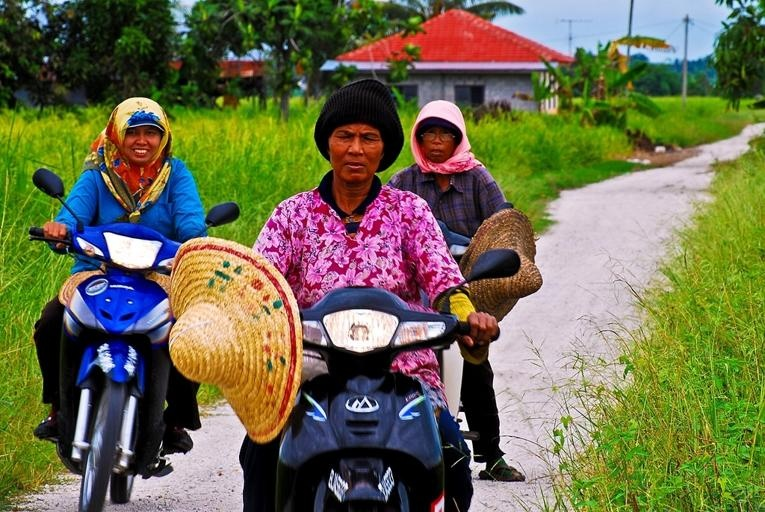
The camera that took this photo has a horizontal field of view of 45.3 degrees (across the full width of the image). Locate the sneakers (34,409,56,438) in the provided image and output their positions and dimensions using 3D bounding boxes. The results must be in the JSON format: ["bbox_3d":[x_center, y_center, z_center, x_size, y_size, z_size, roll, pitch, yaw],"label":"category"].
[{"bbox_3d":[-2.118,1.067,5.732,0.081,0.100,0.230,7,-23,-16],"label":"sneakers"}]

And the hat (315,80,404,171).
[{"bbox_3d":[-0.103,-0.766,4.810,0.421,0.520,0.242,5,33,-4],"label":"hat"}]

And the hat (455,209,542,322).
[{"bbox_3d":[0.763,0.046,5.637,0.267,0.539,0.719,-12,36,30],"label":"hat"}]

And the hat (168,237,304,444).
[{"bbox_3d":[-0.668,0.380,4.246,0.596,0.869,0.421,1,9,-2],"label":"hat"}]
